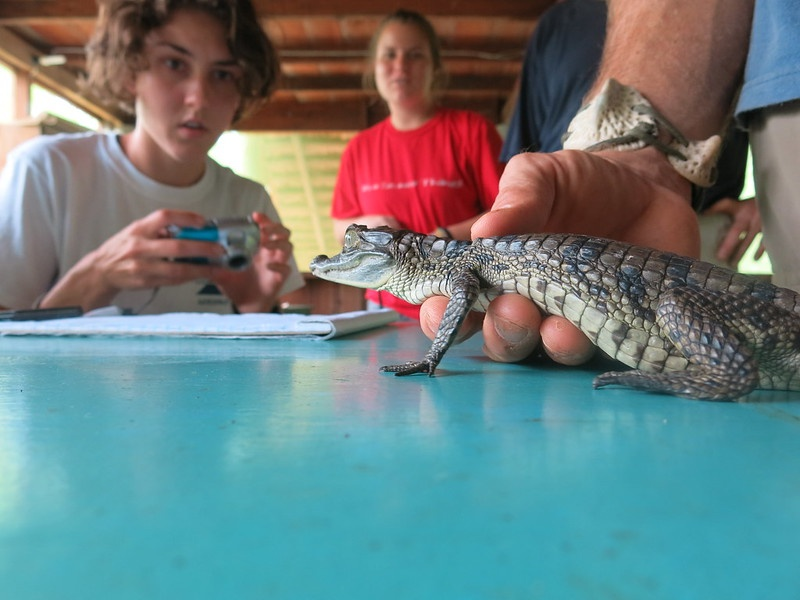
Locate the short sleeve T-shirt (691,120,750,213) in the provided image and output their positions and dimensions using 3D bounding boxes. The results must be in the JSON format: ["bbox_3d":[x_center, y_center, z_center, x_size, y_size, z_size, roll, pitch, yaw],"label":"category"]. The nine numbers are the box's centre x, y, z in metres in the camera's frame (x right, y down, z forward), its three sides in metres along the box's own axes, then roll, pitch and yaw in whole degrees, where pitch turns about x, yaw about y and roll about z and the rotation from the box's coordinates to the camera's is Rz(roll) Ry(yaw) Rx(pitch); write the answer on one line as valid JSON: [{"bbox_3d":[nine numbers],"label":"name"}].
[{"bbox_3d":[0.902,-0.358,2.087,0.084,0.257,0.206,20,26,19],"label":"short sleeve T-shirt"}]

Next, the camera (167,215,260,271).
[{"bbox_3d":[-0.497,-0.153,2.026,0.149,0.138,0.237,-9,16,-44],"label":"camera"}]
